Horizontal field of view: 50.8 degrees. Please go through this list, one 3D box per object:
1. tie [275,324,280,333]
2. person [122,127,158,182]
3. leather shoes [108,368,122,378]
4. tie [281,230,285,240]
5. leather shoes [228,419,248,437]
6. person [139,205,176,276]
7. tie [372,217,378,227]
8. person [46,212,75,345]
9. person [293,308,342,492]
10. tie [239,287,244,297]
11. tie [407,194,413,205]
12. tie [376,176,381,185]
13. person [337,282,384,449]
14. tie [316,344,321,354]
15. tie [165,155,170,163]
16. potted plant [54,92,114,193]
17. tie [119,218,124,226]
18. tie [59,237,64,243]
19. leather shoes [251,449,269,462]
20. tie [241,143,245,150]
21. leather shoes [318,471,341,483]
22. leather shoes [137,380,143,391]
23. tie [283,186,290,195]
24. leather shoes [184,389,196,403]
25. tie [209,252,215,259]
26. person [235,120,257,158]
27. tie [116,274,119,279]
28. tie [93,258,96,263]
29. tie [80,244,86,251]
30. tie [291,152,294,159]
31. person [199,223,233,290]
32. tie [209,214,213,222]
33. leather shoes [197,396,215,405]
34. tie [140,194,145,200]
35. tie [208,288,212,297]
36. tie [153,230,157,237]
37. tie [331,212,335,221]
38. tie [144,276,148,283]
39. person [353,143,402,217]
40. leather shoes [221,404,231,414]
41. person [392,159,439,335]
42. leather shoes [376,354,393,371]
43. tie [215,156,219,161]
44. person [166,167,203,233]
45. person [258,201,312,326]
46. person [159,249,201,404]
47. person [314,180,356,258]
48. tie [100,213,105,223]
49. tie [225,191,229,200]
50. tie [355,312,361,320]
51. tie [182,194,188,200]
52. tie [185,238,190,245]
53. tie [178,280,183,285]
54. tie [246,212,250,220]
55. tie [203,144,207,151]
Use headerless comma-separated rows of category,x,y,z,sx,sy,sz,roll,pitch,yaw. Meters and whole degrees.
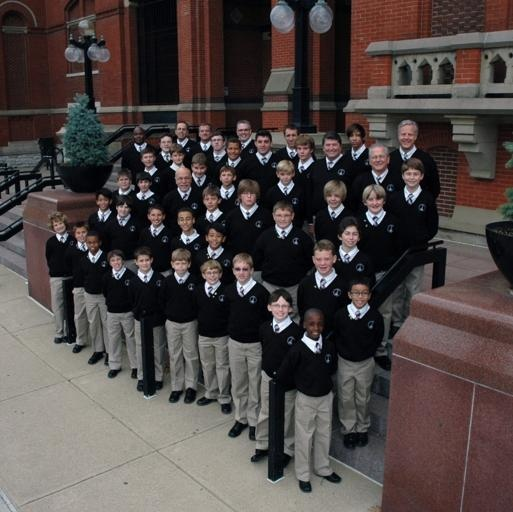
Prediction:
tie,0.184,0.654,4.867,0.040,0.069,0.015,1,0,18
person,-2.203,-1.631,10.217,0.621,1.619,0.391,-5,-4,-3
leather shoes,-1.879,1.536,7.094,0.065,0.091,0.193,2,2,12
tie,0.286,-0.239,5.883,0.055,0.097,0.021,1,5,4
leather shoes,-0.195,1.787,5.607,0.076,0.116,0.240,1,0,30
person,-1.324,-0.015,7.225,0.445,1.376,0.387,-4,18,-14
tie,1.237,-0.365,5.618,0.055,0.096,0.021,0,4,5
person,-2.939,0.333,8.126,0.388,1.902,0.808,-5,12,-21
person,0.502,1.201,4.620,0.409,1.575,0.293,-5,11,-21
tie,-0.149,0.359,5.417,0.045,0.092,0.008,4,12,24
tie,1.641,-0.606,5.769,0.060,0.110,0.019,3,11,22
tie,1.360,-0.845,6.039,0.061,0.073,0.062,1,12,11
person,0.925,0.970,4.916,0.425,1.553,0.274,2,11,15
tie,0.518,0.773,4.505,0.044,0.070,0.016,2,-1,-42
tie,-1.507,-1.636,9.063,0.092,0.114,0.025,3,-19,-12
potted plant,-3.105,-2.026,9.673,0.931,1.726,0.802,-5,12,-21
tie,-1.900,-0.478,7.557,0.048,0.084,0.020,-4,-5,4
tie,-2.934,-0.247,8.108,0.061,0.074,0.016,-1,-5,-4
leather shoes,0.031,1.877,5.111,0.067,0.100,0.210,-2,-6,33
tie,-0.212,-1.672,8.217,0.072,0.119,0.025,-1,-3,-4
leather shoes,0.656,1.926,4.760,0.169,0.084,0.074,-4,1,38
leather shoes,-1.436,1.584,6.612,0.070,0.136,0.052,-1,-6,0
tie,0.377,-0.818,6.690,0.066,0.114,0.025,2,-2,4
leather shoes,-0.793,1.629,6.295,0.068,0.090,0.209,2,21,4
tie,-0.515,-0.011,6.188,0.058,0.069,0.016,9,2,9
person,-0.186,-1.598,8.172,0.305,0.874,0.279,-1,-11,5
tie,-1.758,0.252,6.797,0.051,0.063,0.016,1,-7,6
tie,-2.210,0.047,7.359,0.049,0.072,0.020,-1,11,3
tie,-2.483,-0.126,7.658,0.061,0.101,0.027,1,1,10
tie,0.495,-1.391,7.457,0.048,0.065,0.015,-4,-27,22
person,-0.493,-0.023,6.244,0.390,0.804,0.242,7,24,4
tie,-0.567,-0.467,6.682,0.050,0.087,0.019,2,5,15
leather shoes,-0.590,1.673,6.263,0.194,0.097,0.079,11,-5,-25
tie,-1.651,-0.858,7.788,0.040,0.071,0.016,1,-4,3
tie,-0.506,0.377,5.809,0.060,0.072,0.017,5,-3,34
tie,-1.344,-0.306,7.108,0.054,0.067,0.016,1,-4,11
tie,0.841,-0.449,5.957,0.025,0.068,0.043,-1,1,-43
tie,-1.335,0.277,6.457,0.048,0.083,0.023,0,-3,-5
person,1.383,-0.853,6.145,0.504,0.977,0.305,-1,31,13
leather shoes,-0.341,1.706,6.018,0.067,0.049,0.117,-3,29,-10
person,1.667,-0.141,6.007,0.525,1.972,0.462,3,26,9
leather shoes,1.312,1.092,5.615,0.099,0.107,0.223,-6,10,-26
tie,-0.601,-1.486,8.172,0.052,0.059,0.054,-2,3,13
person,-0.936,-0.822,7.482,0.470,0.936,0.346,-4,24,8
person,0.328,0.211,6.178,0.586,1.818,0.425,-1,23,2
person,-0.876,0.804,6.208,0.433,1.776,0.451,-2,11,-3
person,0.866,-0.322,6.093,0.387,1.200,0.305,6,32,12
tie,-2.265,-0.564,7.907,0.066,0.114,0.025,0,-5,13
tie,-0.401,-0.809,7.191,0.050,0.114,0.031,0,1,6
tie,0.904,0.529,4.821,0.041,0.071,0.017,1,-5,10
tie,-0.983,-0.812,7.395,0.046,0.076,0.016,-2,-5,-5
tie,-0.852,-0.183,6.641,0.063,0.077,0.015,-1,-5,15
tie,-0.874,0.300,6.160,0.033,0.055,0.012,-1,-6,7
tie,-0.109,-0.489,6.461,0.054,0.096,0.022,0,0,8
tie,-0.872,-1.834,9.162,0.103,0.122,0.028,-4,-17,27
